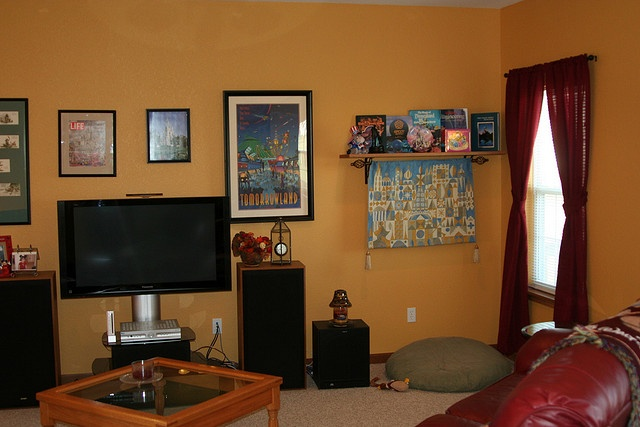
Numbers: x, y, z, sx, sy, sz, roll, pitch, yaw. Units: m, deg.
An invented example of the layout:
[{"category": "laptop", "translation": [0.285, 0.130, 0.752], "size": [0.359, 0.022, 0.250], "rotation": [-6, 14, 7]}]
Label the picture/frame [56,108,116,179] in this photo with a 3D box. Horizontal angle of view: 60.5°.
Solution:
[{"category": "picture/frame", "translation": [-2.221, -0.674, 5.145], "size": [0.632, 0.750, 0.028], "rotation": [0, 1, -9]}]

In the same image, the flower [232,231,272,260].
[{"category": "flower", "translation": [-0.638, 0.299, 5.081], "size": [0.358, 0.255, 0.165], "rotation": [-2, 3, -8]}]

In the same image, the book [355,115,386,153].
[{"category": "book", "translation": [0.474, -0.773, 5.378], "size": [0.372, 0.511, 0.051], "rotation": [1, -13, -8]}]

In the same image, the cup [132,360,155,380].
[{"category": "cup", "translation": [-1.262, 1.114, 3.905], "size": [0.137, 0.105, 0.137], "rotation": [0, -3, 0]}]

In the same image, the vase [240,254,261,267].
[{"category": "vase", "translation": [-0.631, 0.418, 5.022], "size": [0.131, 0.087, 0.133], "rotation": [0, -4, 0]}]

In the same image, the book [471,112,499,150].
[{"category": "book", "translation": [1.654, -0.816, 5.496], "size": [0.362, 0.518, 0.065], "rotation": [0, -1, 6]}]

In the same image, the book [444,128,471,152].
[{"category": "book", "translation": [1.346, -0.718, 5.413], "size": [0.216, 0.198, 0.071], "rotation": [0, 6, -3]}]

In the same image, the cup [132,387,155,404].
[{"category": "cup", "translation": [-1.223, 1.253, 3.809], "size": [0.086, 0.054, 0.088], "rotation": [1, 2, 0]}]

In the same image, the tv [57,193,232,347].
[{"category": "tv", "translation": [-1.644, 0.462, 4.944], "size": [1.413, 1.240, 0.503], "rotation": [0, -1, -10]}]

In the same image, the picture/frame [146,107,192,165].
[{"category": "picture/frame", "translation": [-1.464, -0.753, 5.236], "size": [0.536, 0.650, 0.042], "rotation": [0, 0, -8]}]

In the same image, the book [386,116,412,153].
[{"category": "book", "translation": [0.765, -0.770, 5.444], "size": [0.354, 0.486, 0.059], "rotation": [1, -5, -3]}]

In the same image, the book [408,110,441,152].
[{"category": "book", "translation": [1.023, -0.814, 5.468], "size": [0.345, 0.469, 0.051], "rotation": [-4, 28, 5]}]
